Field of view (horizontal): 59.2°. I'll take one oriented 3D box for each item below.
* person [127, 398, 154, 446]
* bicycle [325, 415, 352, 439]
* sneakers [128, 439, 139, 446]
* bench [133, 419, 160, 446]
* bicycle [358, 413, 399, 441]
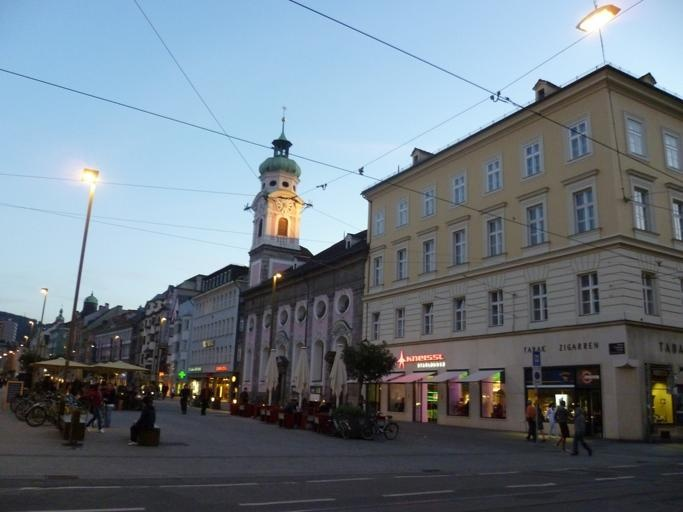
[{"bbox_3d":[-7.193,5.909,21.671,0.865,1.621,0.704,-1,-8,1],"label":"person"},{"bbox_3d":[-0.033,7.975,28.063,0.320,0.981,1.556,11,-19,-30],"label":"bicycle"},{"bbox_3d":[-7.409,6.639,21.379,0.405,0.183,0.144,4,-16,5],"label":"sneakers"},{"bbox_3d":[-6.848,6.322,21.294,0.974,0.725,0.543,4,-13,-14],"label":"bench"},{"bbox_3d":[1.786,8.073,28.439,2.167,1.364,1.079,9,-22,-22],"label":"bicycle"}]
